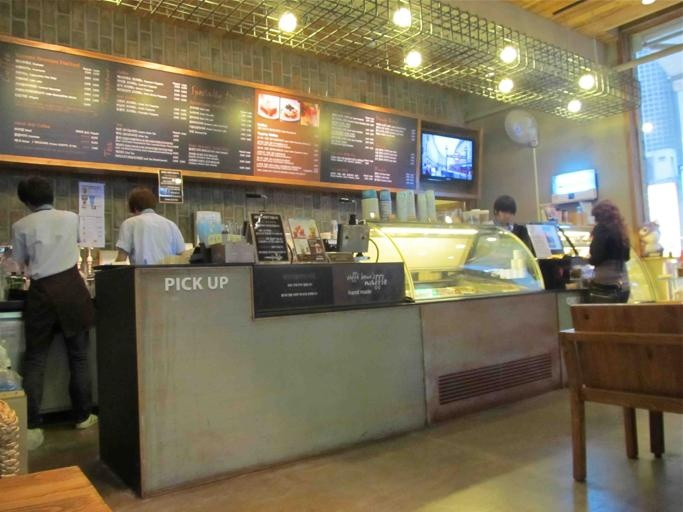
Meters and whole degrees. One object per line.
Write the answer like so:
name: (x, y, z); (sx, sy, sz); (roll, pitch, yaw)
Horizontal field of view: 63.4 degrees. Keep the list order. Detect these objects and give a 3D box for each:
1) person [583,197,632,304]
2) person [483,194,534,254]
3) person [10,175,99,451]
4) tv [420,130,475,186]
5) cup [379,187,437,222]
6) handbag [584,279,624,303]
person: (2.326, -0.032, 4.849); (0.481, 0.887, 0.269); (-6, 7, -31)
person: (1.652, -0.316, 5.331); (0.305, 0.495, 0.791); (-1, 7, 12)
person: (-2.108, 0.348, 4.057); (0.501, 1.838, 0.533); (-5, 7, -30)
tv: (1.427, -1.288, 7.298); (0.948, 0.670, 0.181); (-7, 8, -39)
cup: (0.547, -0.393, 4.457); (0.374, 0.261, 0.294); (-2, 6, -16)
handbag: (2.300, 0.295, 4.823); (0.253, 0.240, 0.193); (-7, -4, 21)
